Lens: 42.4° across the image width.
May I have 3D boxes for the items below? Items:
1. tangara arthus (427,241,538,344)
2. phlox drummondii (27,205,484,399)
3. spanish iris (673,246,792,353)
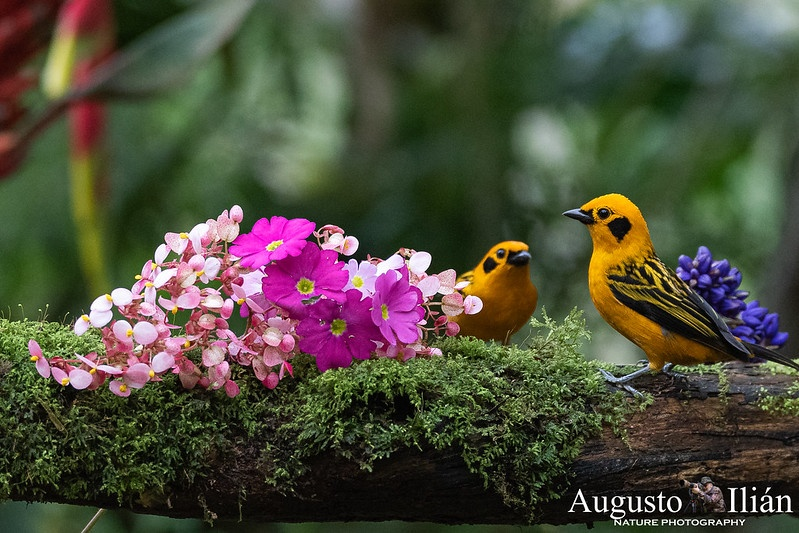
[{"bbox_3d":[0.697,0.192,7.662,0.632,0.720,1.000,-21,6,-36],"label":"tangara arthus"},{"bbox_3d":[-0.770,0.193,6.113,2.704,0.916,0.965,-4,22,-3],"label":"phlox drummondii"},{"bbox_3d":[2.142,0.157,7.012,0.917,0.341,0.661,31,-15,-16],"label":"spanish iris"}]
